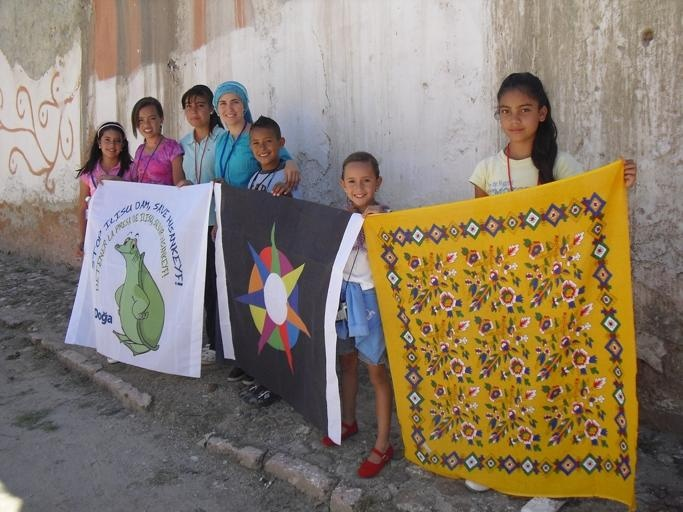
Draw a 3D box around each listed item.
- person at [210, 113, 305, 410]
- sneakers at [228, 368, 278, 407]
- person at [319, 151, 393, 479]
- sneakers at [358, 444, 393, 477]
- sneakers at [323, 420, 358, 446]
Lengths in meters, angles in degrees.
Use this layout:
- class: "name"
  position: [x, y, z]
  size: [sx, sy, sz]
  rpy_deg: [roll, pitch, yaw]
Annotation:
- class: "person"
  position: [-0.588, 0.025, 5.332]
  size: [0.425, 2.062, 0.608]
  rpy_deg: [0, 4, -10]
- class: "sneakers"
  position: [-0.628, 0.961, 5.321]
  size: [0.320, 0.238, 0.115]
  rpy_deg: [15, 47, 46]
- class: "person"
  position: [0.150, 0.348, 4.774]
  size: [0.410, 2.023, 0.488]
  rpy_deg: [-2, 5, -34]
- class: "sneakers"
  position: [0.219, 1.307, 4.674]
  size: [0.232, 0.098, 0.109]
  rpy_deg: [-36, 34, -27]
- class: "sneakers"
  position: [-0.011, 1.172, 4.894]
  size: [0.277, 0.119, 0.097]
  rpy_deg: [-26, 22, -34]
